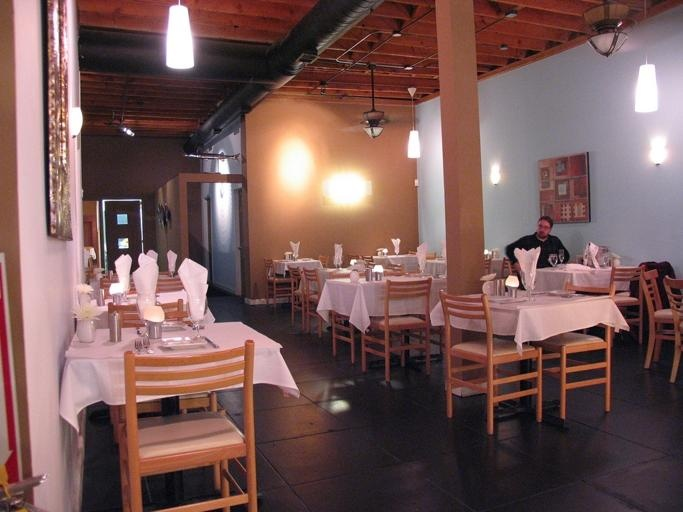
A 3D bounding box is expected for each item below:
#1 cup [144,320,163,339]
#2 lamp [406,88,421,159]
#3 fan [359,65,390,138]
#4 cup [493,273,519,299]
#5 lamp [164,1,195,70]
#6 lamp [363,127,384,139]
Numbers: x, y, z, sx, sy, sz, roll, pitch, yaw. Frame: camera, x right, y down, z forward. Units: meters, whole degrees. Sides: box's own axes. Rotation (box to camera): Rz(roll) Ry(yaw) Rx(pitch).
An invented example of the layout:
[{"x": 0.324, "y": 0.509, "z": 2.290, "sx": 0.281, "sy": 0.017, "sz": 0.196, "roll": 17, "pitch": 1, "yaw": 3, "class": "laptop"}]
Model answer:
[{"x": -1.191, "y": 0.474, "z": 3.397, "sx": 0.123, "sy": 0.133, "sz": 0.105, "roll": 1, "pitch": -3, "yaw": -15, "class": "cup"}, {"x": 1.378, "y": -2.565, "z": 10.277, "sx": 0.246, "sy": 1.297, "sz": 0.251, "roll": -17, "pitch": 20, "yaw": -35, "class": "lamp"}, {"x": 0.600, "y": -2.916, "z": 10.048, "sx": 0.483, "sy": 1.468, "sz": 0.523, "roll": -7, "pitch": -12, "yaw": 29, "class": "fan"}, {"x": 1.483, "y": 0.274, "z": 4.731, "sx": 0.230, "sy": 0.251, "sz": 0.159, "roll": -1, "pitch": 0, "yaw": 5, "class": "cup"}, {"x": -1.219, "y": -1.661, "z": 3.991, "sx": 0.190, "sy": 0.585, "sz": 0.470, "roll": -4, "pitch": 4, "yaw": -16, "class": "lamp"}, {"x": 0.601, "y": -2.328, "z": 9.979, "sx": 0.255, "sy": 0.188, "sz": 0.429, "roll": -3, "pitch": 4, "yaw": -5, "class": "lamp"}]
